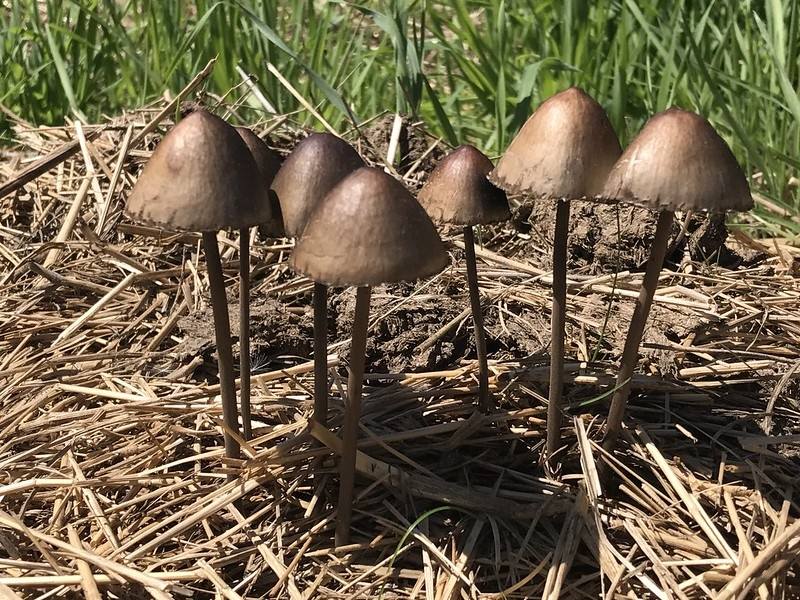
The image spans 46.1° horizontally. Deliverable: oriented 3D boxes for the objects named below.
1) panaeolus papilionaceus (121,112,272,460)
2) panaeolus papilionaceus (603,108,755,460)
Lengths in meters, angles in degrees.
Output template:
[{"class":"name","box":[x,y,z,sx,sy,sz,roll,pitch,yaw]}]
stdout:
[{"class":"panaeolus papilionaceus","box":[-0.597,-0.009,3.139,0.377,1.215,0.404,-26,43,-34]},{"class":"panaeolus papilionaceus","box":[0.858,-0.049,3.207,0.468,1.211,0.325,-8,35,-12]}]
